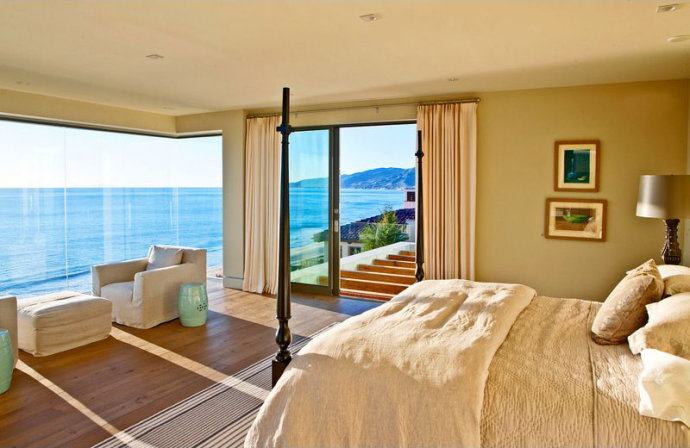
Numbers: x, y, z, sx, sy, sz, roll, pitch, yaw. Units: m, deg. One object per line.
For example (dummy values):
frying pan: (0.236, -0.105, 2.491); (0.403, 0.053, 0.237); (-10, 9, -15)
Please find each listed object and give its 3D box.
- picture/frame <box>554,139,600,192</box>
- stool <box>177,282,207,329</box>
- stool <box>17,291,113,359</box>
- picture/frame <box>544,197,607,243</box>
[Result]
picture/frame: (3.070, -0.793, 6.098); (0.716, 0.908, 0.066); (1, 2, 22)
stool: (-1.992, 1.082, 6.274); (0.517, 0.659, 0.486); (-1, 1, -11)
stool: (-3.299, 1.157, 5.492); (0.717, 0.435, 0.722); (3, 2, 31)
picture/frame: (3.076, -0.065, 6.129); (0.612, 0.500, 0.045); (1, 1, 17)
